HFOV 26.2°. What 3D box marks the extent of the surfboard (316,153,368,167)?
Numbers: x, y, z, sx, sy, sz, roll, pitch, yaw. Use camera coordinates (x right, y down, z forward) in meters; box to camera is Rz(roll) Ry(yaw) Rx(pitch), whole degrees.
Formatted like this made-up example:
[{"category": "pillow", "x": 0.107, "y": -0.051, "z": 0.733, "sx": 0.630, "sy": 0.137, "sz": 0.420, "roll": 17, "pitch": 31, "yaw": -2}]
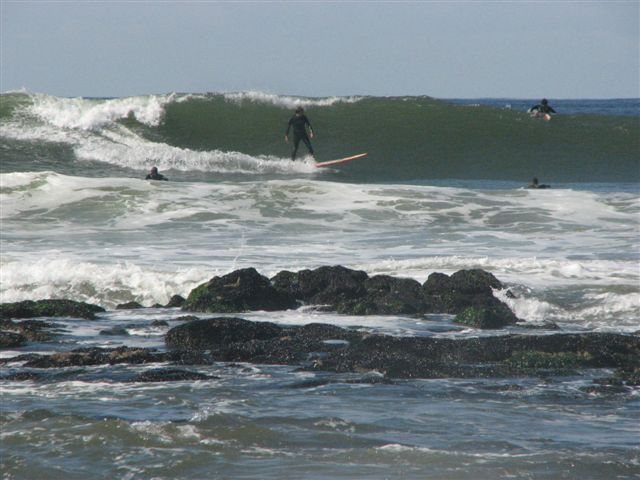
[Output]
[{"category": "surfboard", "x": 0.644, "y": -2.797, "z": 47.786, "sx": 0.169, "sy": 0.231, "sz": 2.306, "roll": 38, "pitch": 29, "yaw": 25}]
